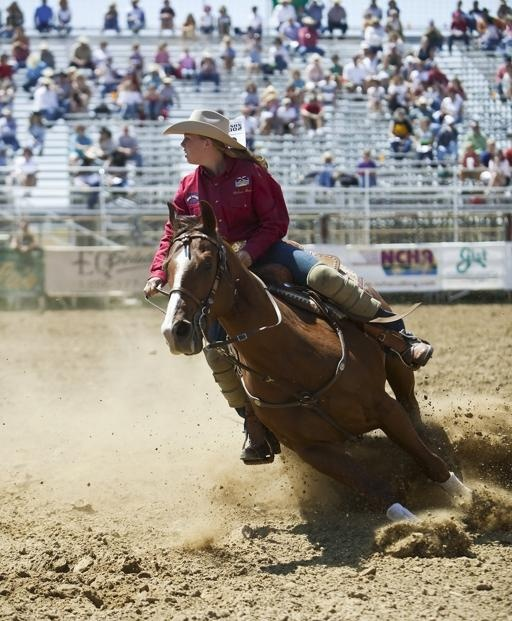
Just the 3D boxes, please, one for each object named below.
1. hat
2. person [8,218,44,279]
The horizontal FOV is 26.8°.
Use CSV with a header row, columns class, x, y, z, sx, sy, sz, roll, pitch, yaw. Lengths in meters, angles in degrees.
class,x,y,z,sx,sy,sz,roll,pitch,yaw
hat,-0.358,-1.279,7.516,0.622,0.203,0.478,8,0,18
person,-3.015,-0.800,14.109,0.517,0.617,1.192,-1,36,-16
